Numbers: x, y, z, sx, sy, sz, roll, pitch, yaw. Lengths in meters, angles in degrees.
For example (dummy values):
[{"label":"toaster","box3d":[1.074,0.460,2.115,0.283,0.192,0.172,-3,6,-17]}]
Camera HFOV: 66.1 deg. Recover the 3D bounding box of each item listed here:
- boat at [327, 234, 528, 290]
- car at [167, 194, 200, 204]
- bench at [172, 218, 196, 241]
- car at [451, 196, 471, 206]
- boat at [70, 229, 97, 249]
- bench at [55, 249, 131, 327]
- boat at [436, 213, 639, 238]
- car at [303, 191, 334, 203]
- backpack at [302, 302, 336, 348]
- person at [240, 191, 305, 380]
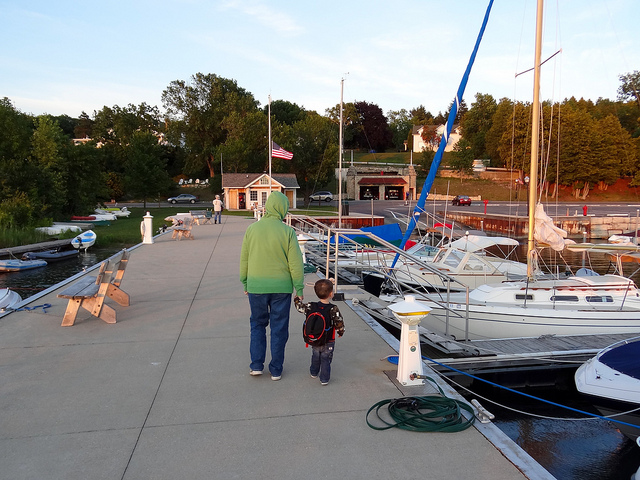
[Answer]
[{"label":"boat","box3d":[3.341,0.714,16.025,5.497,1.748,1.658,2,5,-1]},{"label":"car","box3d":[-20.281,-6.073,73.019,3.635,1.153,2.380,2,10,-1]},{"label":"bench","box3d":[-6.052,-0.449,21.722,0.971,1.003,0.912,0,3,-20]},{"label":"car","box3d":[16.456,-4.578,57.557,1.133,0.799,2.115,0,14,-2]},{"label":"boat","box3d":[-13.763,-0.182,29.178,0.761,0.436,1.821,1,24,-11]},{"label":"bench","box3d":[-4.207,0.852,9.314,0.943,1.137,1.936,2,6,-10]},{"label":"boat","box3d":[17.553,-1.416,38.828,11.409,1.776,9.787,0,10,-12]},{"label":"car","box3d":[-0.139,-6.122,69.117,3.606,1.338,1.683,2,5,3]},{"label":"backpack","box3d":[-0.035,1.135,6.570,0.415,0.568,0.331,7,7,26]},{"label":"person","box3d":[-0.660,0.618,6.760,0.739,2.506,0.761,-2,10,-26]}]
